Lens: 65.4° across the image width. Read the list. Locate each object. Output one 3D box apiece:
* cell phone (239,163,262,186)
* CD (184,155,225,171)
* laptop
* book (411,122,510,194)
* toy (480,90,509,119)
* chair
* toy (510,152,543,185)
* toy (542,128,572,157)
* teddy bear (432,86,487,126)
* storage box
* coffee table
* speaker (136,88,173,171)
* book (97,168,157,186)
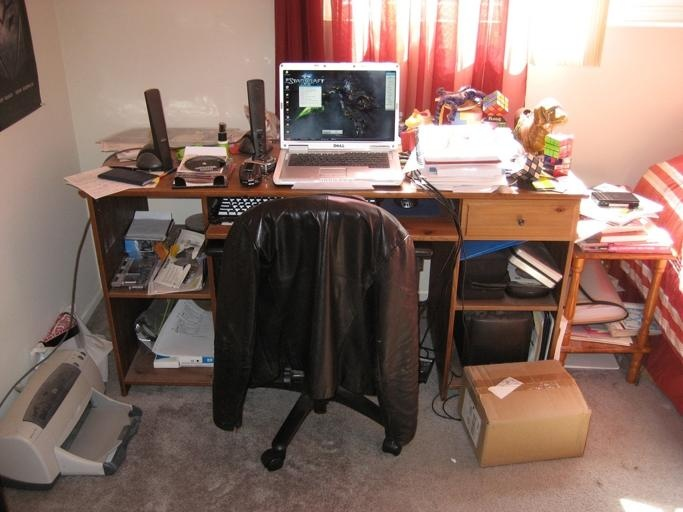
[{"bbox_3d":[-0.374,-0.335,2.178,0.086,0.069,0.122,-2,26,-3],"label":"cell phone"},{"bbox_3d":[-0.572,-0.385,2.212,0.168,0.030,0.140,-3,26,-5],"label":"CD"},{"bbox_3d":[-0.023,-0.544,2.177,0.529,0.406,0.432,1,28,2],"label":"laptop"},{"bbox_3d":[0.503,-0.423,2.228,0.463,0.206,0.365,2,26,6],"label":"book"},{"bbox_3d":[0.678,-0.667,2.358,0.116,0.113,0.047,-3,25,-5],"label":"toy"},{"bbox_3d":[-0.088,0.239,1.891,0.719,0.906,0.584,4,32,4],"label":"chair"},{"bbox_3d":[0.783,-0.370,2.202,0.187,0.106,0.098,-17,30,-29],"label":"toy"},{"bbox_3d":[0.922,-0.475,2.270,0.102,0.089,0.142,12,29,25],"label":"toy"},{"bbox_3d":[0.519,-0.698,2.389,0.214,0.123,0.108,16,4,11],"label":"teddy bear"},{"bbox_3d":[0.783,0.665,2.310,0.446,0.283,0.343,-3,29,-2],"label":"storage box"},{"bbox_3d":[1.283,0.160,2.639,0.410,0.651,0.523,5,25,17],"label":"coffee table"},{"bbox_3d":[-0.821,-0.546,2.280,0.145,0.331,0.252,-9,27,-16],"label":"speaker"},{"bbox_3d":[-0.876,-0.332,2.202,0.245,0.039,0.125,10,28,21],"label":"book"}]
